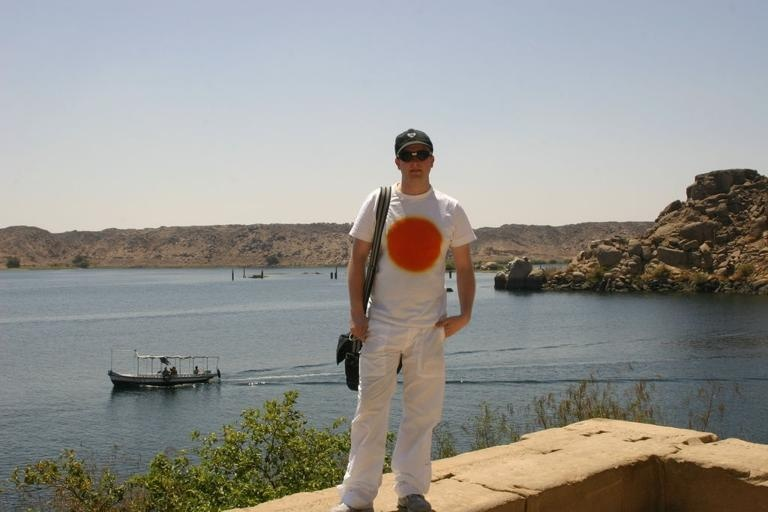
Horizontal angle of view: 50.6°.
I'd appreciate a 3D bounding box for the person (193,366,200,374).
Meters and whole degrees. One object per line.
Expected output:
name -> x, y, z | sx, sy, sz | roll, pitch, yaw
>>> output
person -> -10.401, 6.266, 44.665 | 0.349, 0.422, 0.825 | 0, -3, -9
